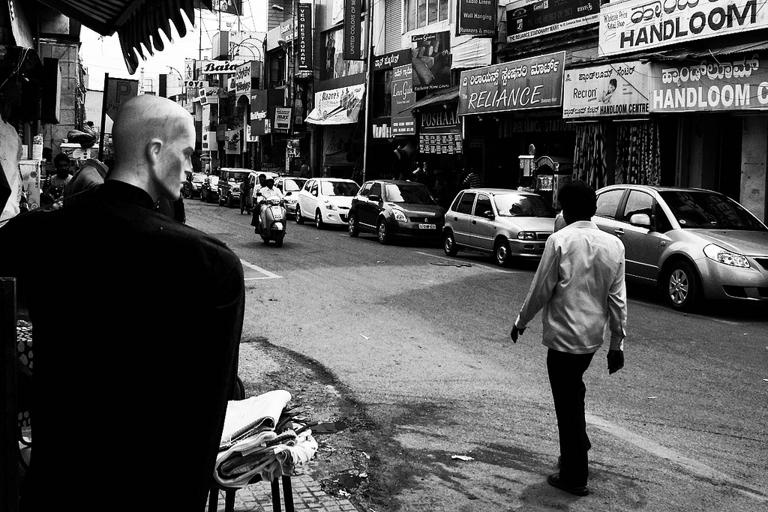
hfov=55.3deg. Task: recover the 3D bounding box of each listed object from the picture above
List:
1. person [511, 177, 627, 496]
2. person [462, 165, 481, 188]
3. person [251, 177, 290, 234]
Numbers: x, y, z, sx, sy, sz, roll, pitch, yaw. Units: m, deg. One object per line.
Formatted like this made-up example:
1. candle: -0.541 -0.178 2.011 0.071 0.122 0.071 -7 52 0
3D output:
1. person: 1.427 0.547 5.658 0.700 2.240 0.712 -4 7 -43
2. person: 2.935 -3.001 24.970 0.542 1.112 1.070 0 11 5
3. person: -3.186 -1.409 20.025 0.790 1.483 2.276 0 7 -11
